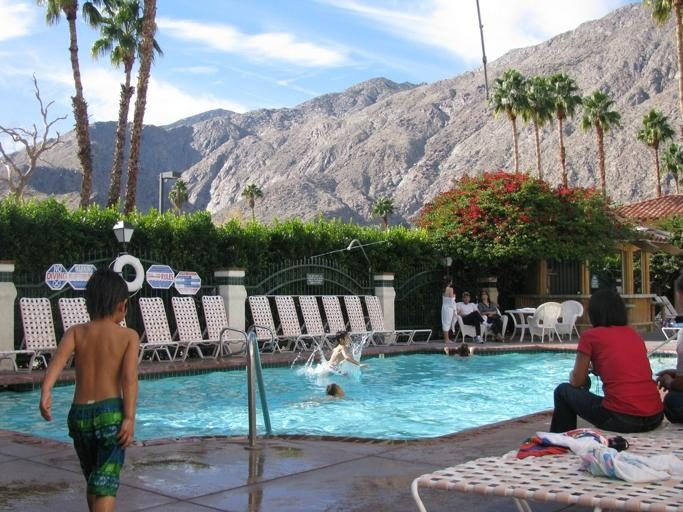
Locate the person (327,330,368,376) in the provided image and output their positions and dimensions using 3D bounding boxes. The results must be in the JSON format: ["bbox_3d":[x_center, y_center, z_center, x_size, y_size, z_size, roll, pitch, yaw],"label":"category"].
[{"bbox_3d":[0.137,1.869,15.900,0.267,0.551,0.749,-6,5,-27],"label":"person"}]

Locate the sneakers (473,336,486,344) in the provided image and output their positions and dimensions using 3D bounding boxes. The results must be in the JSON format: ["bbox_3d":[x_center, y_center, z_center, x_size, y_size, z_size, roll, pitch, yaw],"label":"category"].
[{"bbox_3d":[3.438,2.061,20.487,0.128,0.294,0.395,1,-9,-18],"label":"sneakers"}]

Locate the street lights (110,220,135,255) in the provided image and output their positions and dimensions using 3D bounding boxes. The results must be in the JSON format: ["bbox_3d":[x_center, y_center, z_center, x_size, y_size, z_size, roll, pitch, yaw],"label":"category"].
[{"bbox_3d":[-4.119,-0.347,15.782,0.425,0.621,1.080,-1,-4,-15],"label":"street lights"}]

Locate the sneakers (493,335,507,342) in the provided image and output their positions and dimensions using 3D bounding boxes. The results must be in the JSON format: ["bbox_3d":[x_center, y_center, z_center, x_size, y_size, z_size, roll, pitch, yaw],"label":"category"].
[{"bbox_3d":[3.996,2.095,20.922,0.140,0.196,0.428,0,-12,-14],"label":"sneakers"}]
